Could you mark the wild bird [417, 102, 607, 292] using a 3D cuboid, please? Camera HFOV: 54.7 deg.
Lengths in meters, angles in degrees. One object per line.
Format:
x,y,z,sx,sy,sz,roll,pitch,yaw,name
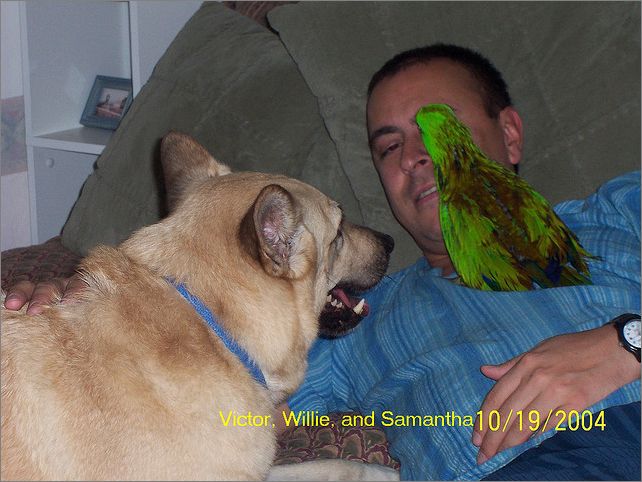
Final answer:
0.687,-0.107,2.826,0.641,0.423,0.994,27,22,-54,wild bird
